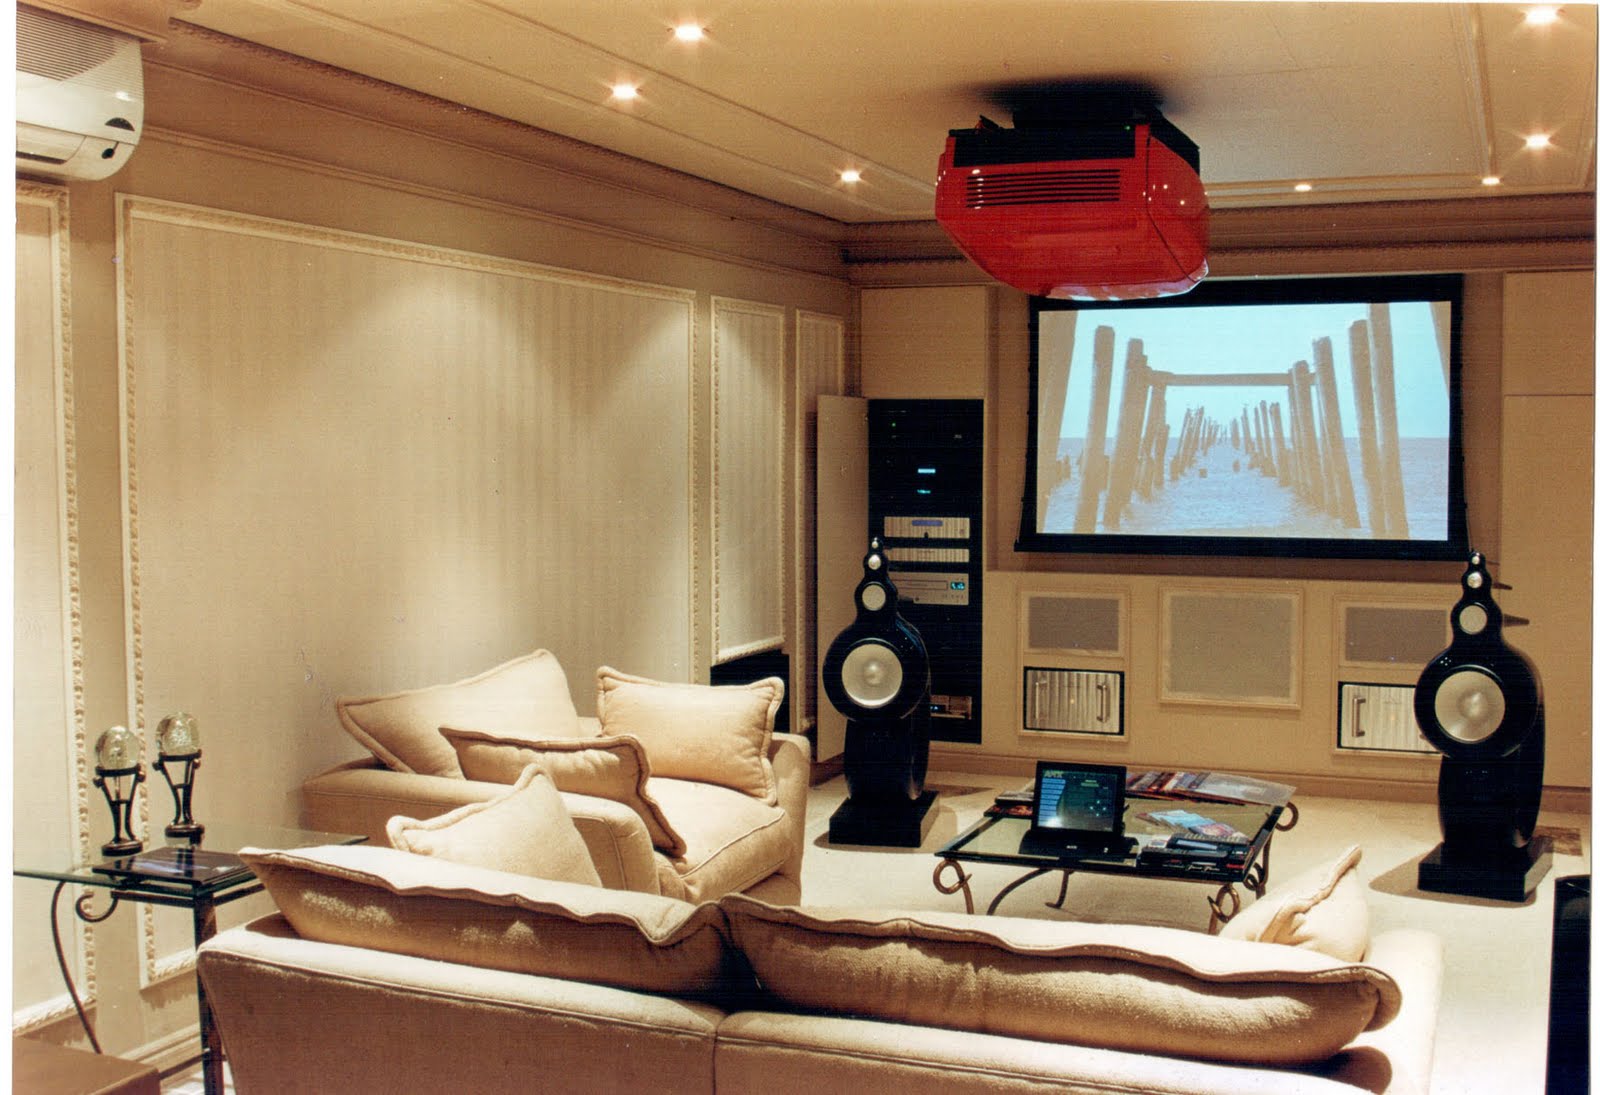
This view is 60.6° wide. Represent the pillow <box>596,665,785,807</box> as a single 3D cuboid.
[{"bbox_3d":[-0.424,0.725,5.125,0.516,0.325,0.170,3,-28,10],"label":"pillow"}]

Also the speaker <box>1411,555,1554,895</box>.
[{"bbox_3d":[2.805,0.743,5.678,0.480,1.405,0.256,0,2,21],"label":"speaker"}]

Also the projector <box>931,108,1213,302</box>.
[{"bbox_3d":[0.850,-1.083,4.394,0.684,0.251,0.654,0,-14,11],"label":"projector"}]

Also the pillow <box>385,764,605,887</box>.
[{"bbox_3d":[-0.772,0.759,3.594,0.115,0.374,0.382,-42,-16,32],"label":"pillow"}]

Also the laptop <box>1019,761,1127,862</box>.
[{"bbox_3d":[1.016,0.967,5.043,0.367,0.326,0.316,1,-12,18],"label":"laptop"}]

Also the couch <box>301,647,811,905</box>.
[{"bbox_3d":[-0.835,0.774,4.860,1.128,0.725,1.192,-1,-3,23],"label":"couch"}]
